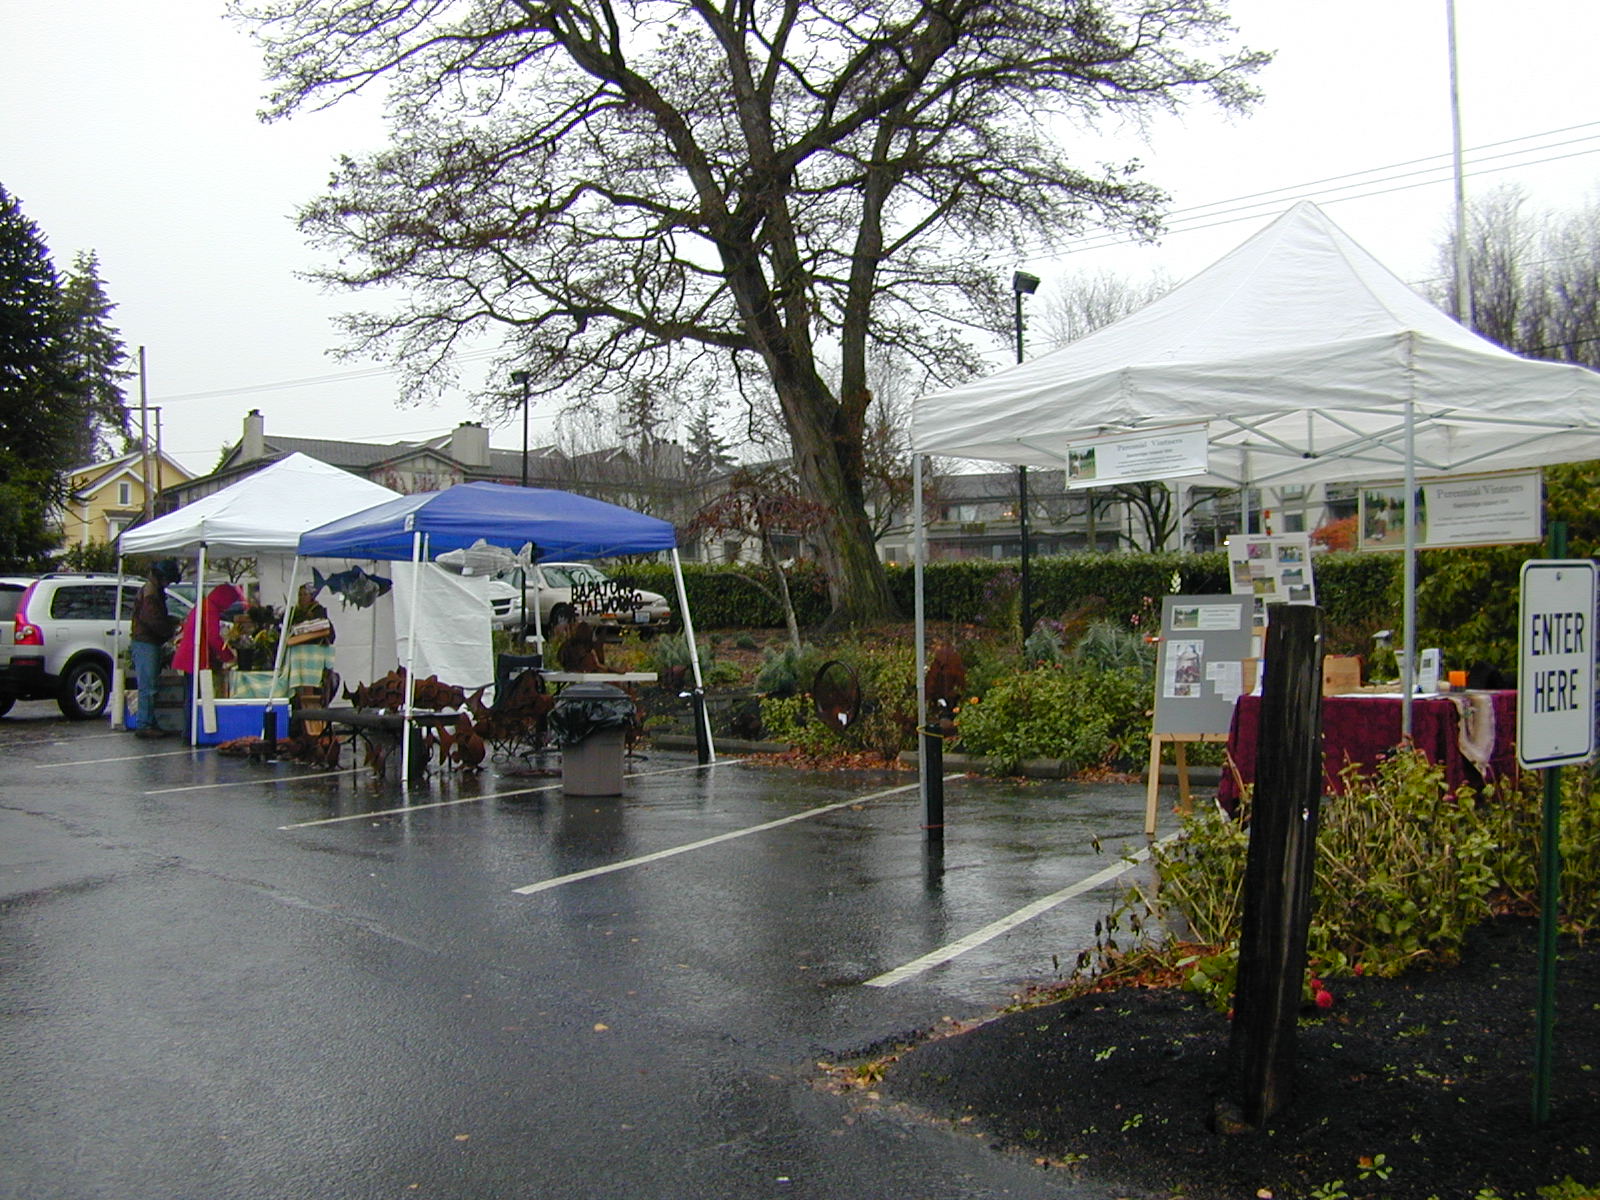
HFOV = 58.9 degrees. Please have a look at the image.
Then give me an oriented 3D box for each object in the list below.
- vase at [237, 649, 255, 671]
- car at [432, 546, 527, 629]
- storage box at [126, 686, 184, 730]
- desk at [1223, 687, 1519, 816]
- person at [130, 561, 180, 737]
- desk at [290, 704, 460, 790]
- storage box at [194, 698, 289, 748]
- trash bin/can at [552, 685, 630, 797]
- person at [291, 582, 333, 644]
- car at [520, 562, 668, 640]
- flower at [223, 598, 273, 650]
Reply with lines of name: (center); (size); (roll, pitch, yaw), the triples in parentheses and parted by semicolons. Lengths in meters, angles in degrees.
vase: (-7.490, 0.839, 19.181); (0.221, 0.411, 0.271); (0, -3, -29)
car: (-4.098, -0.149, 18.116); (0.886, 0.885, 1.686); (0, -6, -19)
storage box: (-9.137, 1.560, 20.138); (0.536, 0.417, 0.303); (-4, 10, -30)
desk: (3.829, 0.947, 9.500); (1.704, 0.642, 0.751); (0, 3, 26)
person: (-9.137, 0.684, 19.978); (0.544, 2.370, 1.304); (-3, 3, -26)
desk: (-4.744, 1.553, 15.696); (1.252, 0.826, 2.909); (-3, 4, -36)
storage box: (-7.207, 1.599, 18.114); (1.033, 0.586, 0.732); (3, -6, -32)
trash bin/can: (-2.060, 1.391, 14.044); (0.785, 1.090, 0.769); (1, 2, -12)
person: (-6.098, 0.184, 17.608); (0.496, 0.718, 1.157); (-2, 3, -19)
car: (-4.769, -0.107, 32.099); (1.757, 1.418, 3.876); (1, -4, -40)
flower: (-7.534, 0.464, 19.392); (0.512, 0.713, 0.392); (-9, 32, -43)
